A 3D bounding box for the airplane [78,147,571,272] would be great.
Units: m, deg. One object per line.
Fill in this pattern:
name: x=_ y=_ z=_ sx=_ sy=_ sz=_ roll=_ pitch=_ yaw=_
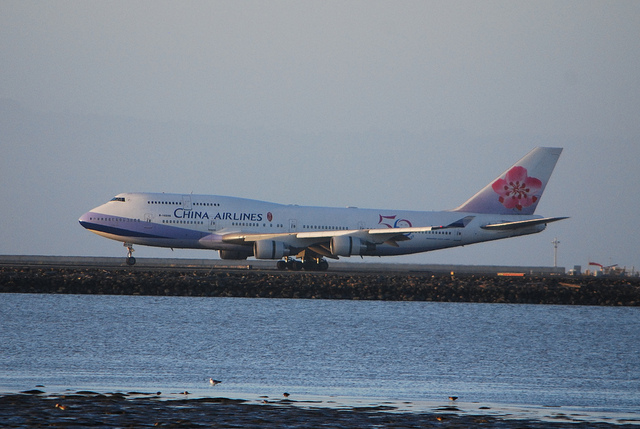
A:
airplane: x=2.105 y=0.215 z=72.029 sx=26.993 sy=6.329 sz=7.860 roll=-2 pitch=11 yaw=-21
